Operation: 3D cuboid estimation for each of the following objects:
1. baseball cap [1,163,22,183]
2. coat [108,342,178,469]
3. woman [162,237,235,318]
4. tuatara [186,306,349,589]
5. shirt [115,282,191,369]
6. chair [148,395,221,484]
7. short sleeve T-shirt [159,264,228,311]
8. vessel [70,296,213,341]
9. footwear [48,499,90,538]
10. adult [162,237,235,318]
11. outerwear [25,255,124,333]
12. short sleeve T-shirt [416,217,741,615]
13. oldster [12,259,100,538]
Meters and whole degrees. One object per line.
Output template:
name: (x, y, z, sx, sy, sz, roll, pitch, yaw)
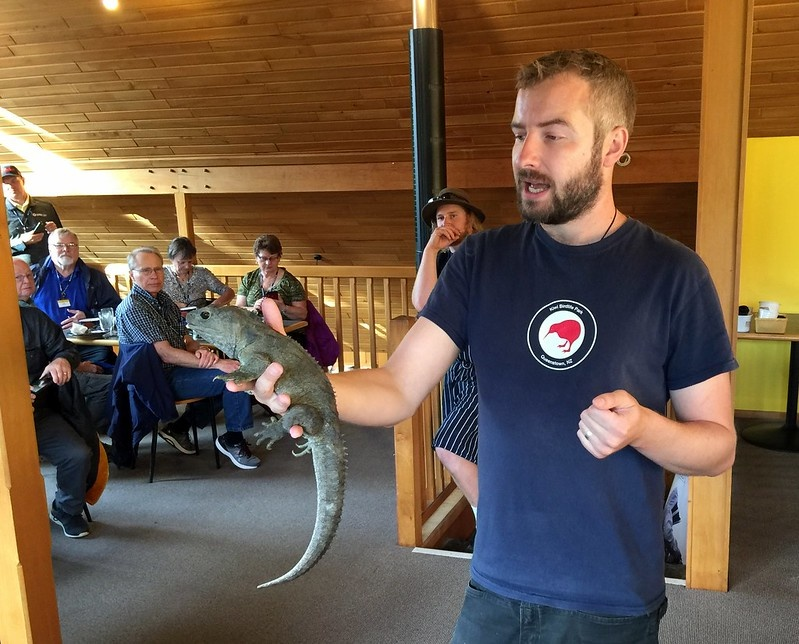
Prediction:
baseball cap: (-3.615, -1.380, 6.197, 0.147, 0.140, 0.374, -9, 13, -28)
coat: (-1.838, 0.640, 4.663, 0.527, 1.012, 0.314, 1, 14, 13)
woman: (-2.018, -0.395, 6.203, 0.885, 0.543, 0.943, -9, 21, -18)
tuatara: (-0.273, 0.267, 1.481, 0.346, 0.644, 0.136, -9, -22, -43)
shirt: (-1.812, -0.019, 4.782, 0.416, 0.532, 0.656, 4, 19, 5)
chair: (-1.571, 0.877, 5.042, 0.757, 0.648, 0.618, -2, -7, -3)
short sleeve T-shirt: (-2.032, -0.339, 6.365, 0.936, 0.403, 0.199, -4, 33, -5)
vessel: (-1.812, -0.014, 4.495, 0.449, 0.146, 0.297, -13, 12, 0)
footwear: (-2.005, 1.195, 4.047, 0.169, 0.176, 0.363, -11, 14, -35)
adult: (-2.031, -0.391, 6.196, 0.874, 0.538, 0.949, -11, 21, -22)
outerwear: (-2.840, -0.272, 5.734, 0.944, 0.683, 0.391, 11, 37, -13)
short sleeve T-shirt: (0.477, 0.223, 1.765, 0.926, 0.933, 0.408, 2, 8, 40)
oldster: (-2.102, 0.571, 4.167, 0.356, 1.367, 0.966, -10, 15, -29)
